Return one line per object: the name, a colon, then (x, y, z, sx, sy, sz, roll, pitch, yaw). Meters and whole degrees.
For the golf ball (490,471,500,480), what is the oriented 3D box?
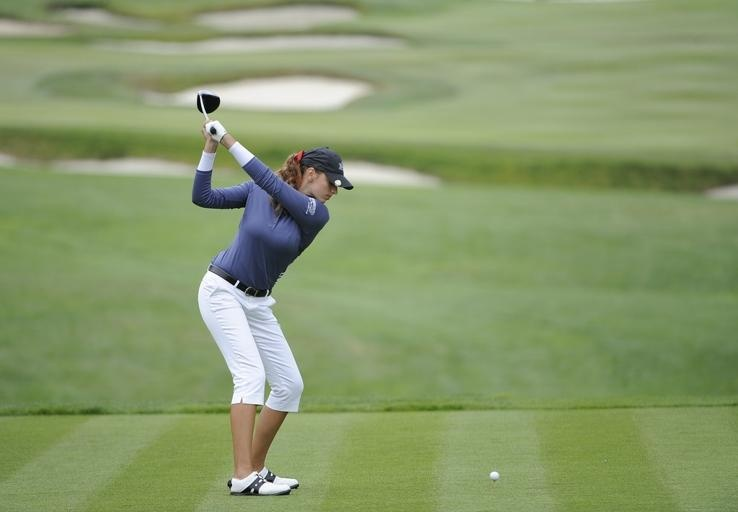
golf ball: (0.749, 1.324, 6.332, 0.054, 0.045, 0.049, -1, -11, 18)

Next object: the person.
person: (-0.648, 0.337, 6.275, 0.915, 2.203, 1.181, 4, 26, -3)

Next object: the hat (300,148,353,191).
hat: (-0.252, -0.550, 6.368, 0.402, 0.188, 0.227, 21, 6, 7)

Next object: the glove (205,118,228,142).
glove: (-0.895, -0.722, 6.112, 0.100, 0.123, 0.131, -36, 68, -31)
